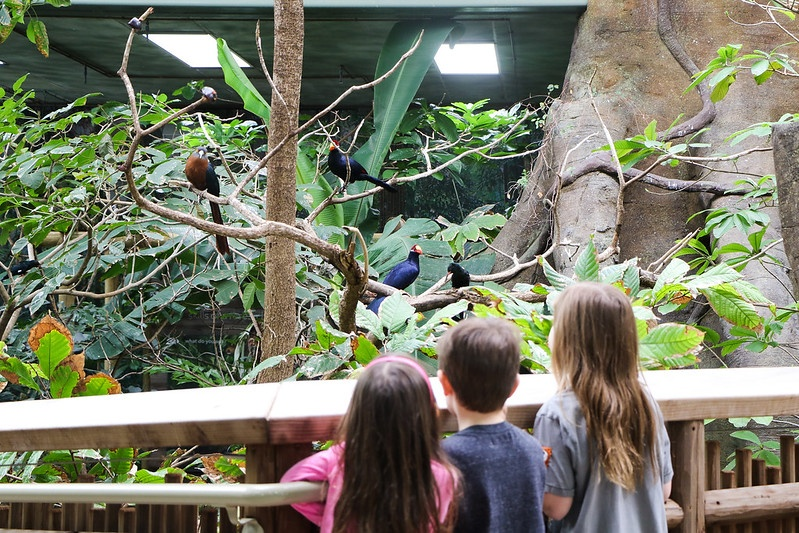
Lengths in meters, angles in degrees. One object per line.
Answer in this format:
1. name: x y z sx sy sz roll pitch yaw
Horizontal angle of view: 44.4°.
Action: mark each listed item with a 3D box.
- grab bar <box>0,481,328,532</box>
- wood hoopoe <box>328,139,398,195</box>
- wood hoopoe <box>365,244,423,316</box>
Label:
1. grab bar: -1.188 1.145 4.940 1.633 0.143 0.092 -2 -5 -2
2. wood hoopoe: -0.340 -0.860 8.428 0.723 0.392 0.198 7 5 -35
3. wood hoopoe: 0.004 0.058 8.505 0.223 0.454 0.600 20 -16 -27
